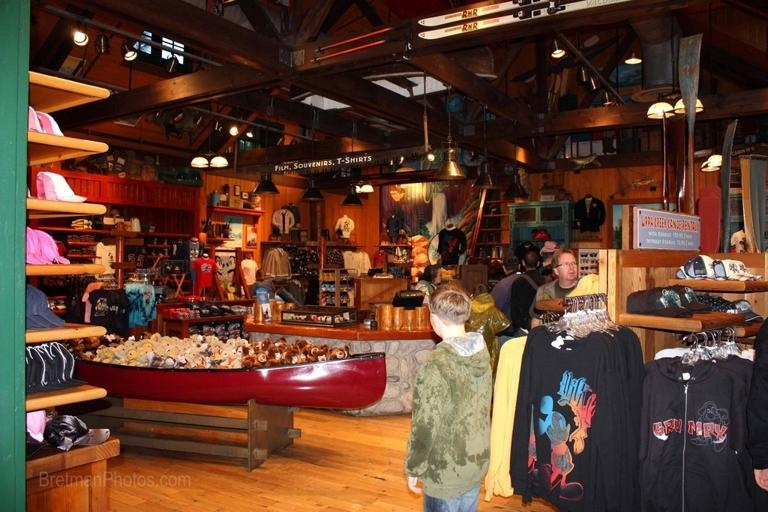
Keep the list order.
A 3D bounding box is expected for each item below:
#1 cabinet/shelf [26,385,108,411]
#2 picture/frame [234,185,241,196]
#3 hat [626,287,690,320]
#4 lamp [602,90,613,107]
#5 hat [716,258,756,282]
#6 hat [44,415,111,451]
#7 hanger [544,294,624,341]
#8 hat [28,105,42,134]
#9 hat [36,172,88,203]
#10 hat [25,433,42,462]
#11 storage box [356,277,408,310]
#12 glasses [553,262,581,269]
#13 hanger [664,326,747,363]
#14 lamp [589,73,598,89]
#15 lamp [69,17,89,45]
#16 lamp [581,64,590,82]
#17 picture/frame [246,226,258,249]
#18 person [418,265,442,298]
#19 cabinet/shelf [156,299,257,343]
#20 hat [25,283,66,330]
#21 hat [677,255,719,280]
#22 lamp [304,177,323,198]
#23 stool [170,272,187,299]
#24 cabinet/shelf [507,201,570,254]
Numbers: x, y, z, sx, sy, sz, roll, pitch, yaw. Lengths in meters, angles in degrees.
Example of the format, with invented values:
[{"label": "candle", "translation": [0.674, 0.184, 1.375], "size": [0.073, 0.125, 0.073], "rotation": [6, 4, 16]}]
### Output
[{"label": "cabinet/shelf", "translation": [-2.213, 0.999, 4.032], "size": [0.482, 0.170, 0.244], "rotation": [-4, 8, -37]}, {"label": "picture/frame", "translation": [-3.586, -1.612, 14.199], "size": [0.040, 0.260, 0.292], "rotation": [-3, -2, 24]}, {"label": "hat", "translation": [1.988, 0.345, 4.245], "size": [0.216, 0.122, 0.306], "rotation": [-2, 2, -41]}, {"label": "lamp", "translation": [3.703, -2.600, 9.598], "size": [0.152, 0.263, 0.782], "rotation": [3, 7, 23]}, {"label": "hat", "translation": [2.647, 0.101, 4.394], "size": [0.179, 0.086, 0.240], "rotation": [-3, 3, -28]}, {"label": "hat", "translation": [-2.237, 1.272, 4.243], "size": [0.439, 0.148, 0.433], "rotation": [9, 8, -9]}, {"label": "hanger", "translation": [1.443, 0.442, 4.272], "size": [0.423, 0.165, 0.312], "rotation": [-2, 2, -32]}, {"label": "hat", "translation": [-2.388, -0.933, 3.971], "size": [0.055, 0.180, 0.126], "rotation": [-1, -6, 10]}, {"label": "hat", "translation": [-2.300, -0.486, 4.114], "size": [0.302, 0.129, 0.224], "rotation": [10, 10, 34]}, {"label": "hat", "translation": [-2.417, 1.305, 4.003], "size": [0.090, 0.151, 0.114], "rotation": [-2, 7, -20]}, {"label": "storage box", "translation": [0.021, 0.597, 8.926], "size": [0.754, 0.470, 0.414], "rotation": [-2, -18, 0]}, {"label": "glasses", "translation": [1.849, 0.092, 5.958], "size": [0.206, 0.085, 0.128], "rotation": [2, 6, 14]}, {"label": "hanger", "translation": [2.354, 0.669, 4.244], "size": [0.484, 0.177, 0.342], "rotation": [-1, 0, -40]}, {"label": "lamp", "translation": [3.130, -2.610, 8.690], "size": [0.078, 0.221, 0.439], "rotation": [3, 7, 26]}, {"label": "lamp", "translation": [-3.946, -2.896, 7.549], "size": [0.131, 0.240, 0.333], "rotation": [-2, 7, -18]}, {"label": "lamp", "translation": [2.932, -2.683, 8.519], "size": [0.102, 0.222, 0.198], "rotation": [5, 8, 37]}, {"label": "picture/frame", "translation": [-3.288, -0.469, 14.449], "size": [0.059, 0.571, 0.551], "rotation": [-3, -4, 25]}, {"label": "person", "translation": [0.697, 0.368, 8.530], "size": [0.334, 0.460, 0.800], "rotation": [3, 0, 22]}, {"label": "cabinet/shelf", "translation": [-3.132, 1.159, 10.150], "size": [1.440, 0.738, 0.871], "rotation": [-5, 8, -40]}, {"label": "hat", "translation": [-2.350, 0.342, 4.034], "size": [0.228, 0.306, 0.255], "rotation": [-3, 7, -30]}, {"label": "hat", "translation": [2.401, 0.082, 4.463], "size": [0.168, 0.131, 0.237], "rotation": [0, 6, -1]}, {"label": "lamp", "translation": [-1.316, -1.247, 10.673], "size": [0.246, 0.348, 0.443], "rotation": [1, 6, 3]}, {"label": "stool", "translation": [-3.877, 0.516, 10.957], "size": [0.272, 0.477, 0.907], "rotation": [-2, 7, -20]}, {"label": "cabinet/shelf", "translation": [3.499, -0.676, 13.046], "size": [1.290, 1.239, 0.494], "rotation": [0, -3, 26]}]
